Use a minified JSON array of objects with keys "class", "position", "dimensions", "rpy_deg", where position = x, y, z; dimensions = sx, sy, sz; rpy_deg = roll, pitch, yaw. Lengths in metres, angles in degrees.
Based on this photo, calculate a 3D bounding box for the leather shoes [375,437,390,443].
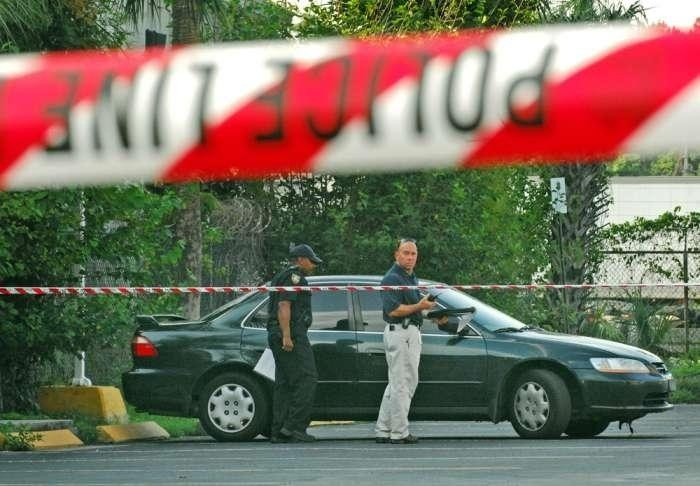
[{"class":"leather shoes","position":[0.381,2.235,18.835],"dimensions":[0.155,0.080,0.062],"rpy_deg":[-2,1,-15]}]

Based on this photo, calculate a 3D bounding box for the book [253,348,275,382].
[{"class":"book","position":[-0.957,1.426,19.469],"dimensions":[0.309,0.327,0.078],"rpy_deg":[31,-5,16]}]

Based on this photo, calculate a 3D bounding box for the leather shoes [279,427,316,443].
[{"class":"leather shoes","position":[-0.606,2.223,19.135],"dimensions":[0.447,0.197,0.155],"rpy_deg":[6,0,-30]}]

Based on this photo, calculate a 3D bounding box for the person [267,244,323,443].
[{"class":"person","position":[-0.656,1.134,19.288],"dimensions":[0.551,2.297,0.701],"rpy_deg":[0,0,-6]}]

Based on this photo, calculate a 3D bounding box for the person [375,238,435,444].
[{"class":"person","position":[0.601,1.086,18.758],"dimensions":[0.574,2.357,0.621],"rpy_deg":[0,0,1]}]

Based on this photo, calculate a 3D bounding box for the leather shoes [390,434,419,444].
[{"class":"leather shoes","position":[0.620,2.192,18.732],"dimensions":[0.303,0.141,0.114],"rpy_deg":[-3,3,-30]}]

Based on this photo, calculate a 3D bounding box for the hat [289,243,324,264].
[{"class":"hat","position":[-0.583,0.101,23.531],"dimensions":[0.510,0.301,0.338],"rpy_deg":[10,5,-11]}]
